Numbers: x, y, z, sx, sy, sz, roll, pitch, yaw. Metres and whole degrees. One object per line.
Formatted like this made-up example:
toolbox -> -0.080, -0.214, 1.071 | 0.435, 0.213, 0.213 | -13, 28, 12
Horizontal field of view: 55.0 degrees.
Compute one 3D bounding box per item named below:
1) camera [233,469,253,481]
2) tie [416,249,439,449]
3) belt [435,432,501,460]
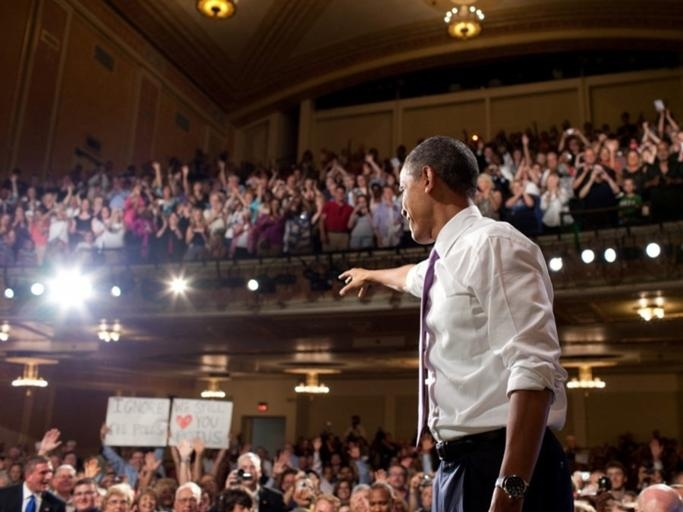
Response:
camera -> -1.136, 2.536, 7.525 | 0.149, 0.099, 0.065 | 2, -50, 26
tie -> 0.406, 0.490, 3.406 | 0.050, 1.079, 0.113 | 4, -1, 13
belt -> 0.635, 0.951, 3.320 | 0.197, 0.066, 0.206 | -15, -6, 0
